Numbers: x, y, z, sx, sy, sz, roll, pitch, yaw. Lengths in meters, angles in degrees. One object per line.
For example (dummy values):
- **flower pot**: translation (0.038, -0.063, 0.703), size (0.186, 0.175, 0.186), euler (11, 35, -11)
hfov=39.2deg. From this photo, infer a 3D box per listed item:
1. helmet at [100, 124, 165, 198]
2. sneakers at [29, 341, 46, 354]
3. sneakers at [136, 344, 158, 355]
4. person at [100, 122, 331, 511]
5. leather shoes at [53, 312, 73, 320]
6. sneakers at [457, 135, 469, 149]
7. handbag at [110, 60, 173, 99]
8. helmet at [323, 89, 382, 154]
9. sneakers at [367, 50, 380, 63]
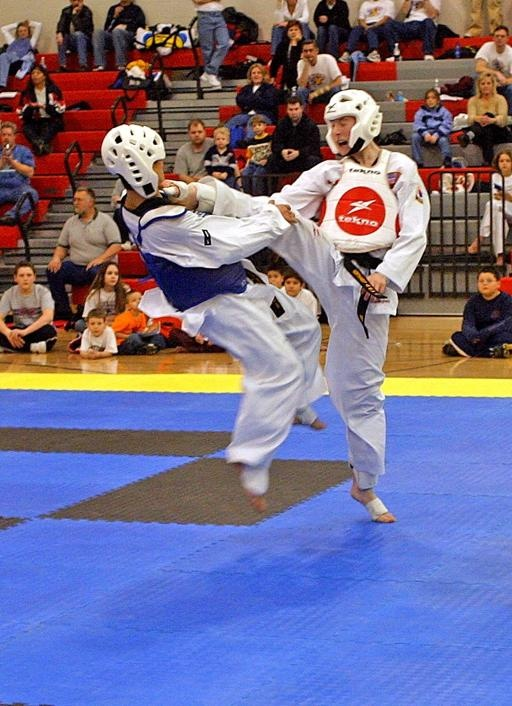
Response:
- **helmet**: translation (-0.441, -0.693, 2.606), size (0.319, 0.240, 0.240), euler (-7, 15, -35)
- **sneakers**: translation (-2.307, -0.055, 7.535), size (0.180, 0.127, 0.151), euler (-4, 5, -8)
- **sneakers**: translation (-1.110, -0.039, 7.301), size (0.236, 0.061, 0.096), euler (3, -2, -25)
- **person**: translation (-0.102, -0.155, 2.661), size (0.821, 1.399, 0.560), euler (-5, 6, -10)
- **leather shoes**: translation (-2.443, -0.455, 9.016), size (0.213, 0.110, 0.242), euler (-4, 5, -15)
- **sneakers**: translation (2.811, -2.866, 9.772), size (0.112, 0.177, 0.137), euler (5, 21, 26)
- **handbag**: translation (-1.882, -4.449, 11.933), size (1.057, 0.460, 1.223), euler (1, 12, 9)
- **helmet**: translation (0.361, -0.895, 2.776), size (0.190, 0.229, 0.132), euler (-1, 6, 23)
- **sneakers**: translation (1.935, -4.931, 11.997), size (0.165, 0.141, 0.319), euler (2, 18, -1)
